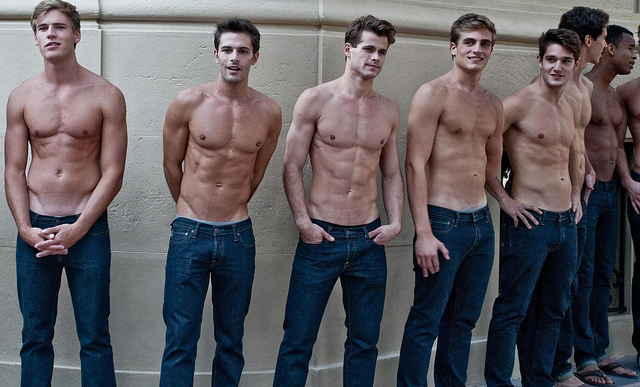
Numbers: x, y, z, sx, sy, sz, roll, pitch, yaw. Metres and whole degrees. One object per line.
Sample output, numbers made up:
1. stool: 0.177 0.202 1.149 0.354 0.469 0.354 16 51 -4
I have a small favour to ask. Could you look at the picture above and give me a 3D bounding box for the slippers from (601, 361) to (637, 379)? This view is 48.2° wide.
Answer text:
1. slippers: 2.799 1.656 6.709 0.136 0.078 0.334 -6 5 -39
